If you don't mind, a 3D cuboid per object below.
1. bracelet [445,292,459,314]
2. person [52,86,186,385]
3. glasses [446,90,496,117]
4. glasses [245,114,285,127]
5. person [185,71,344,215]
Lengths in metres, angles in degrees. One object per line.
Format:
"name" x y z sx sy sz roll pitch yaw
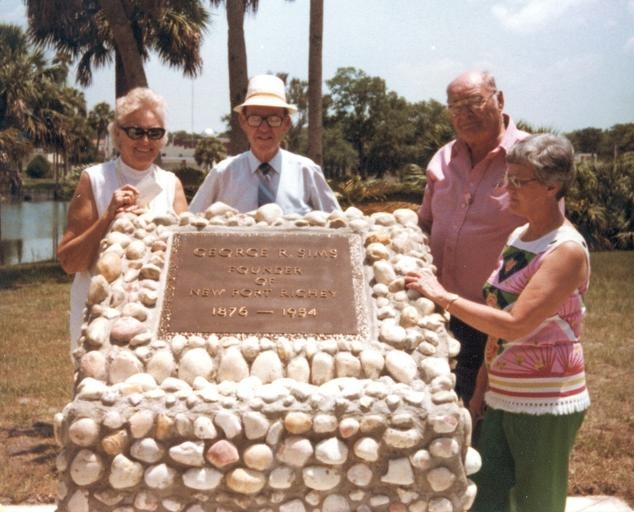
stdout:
"bracelet" 1.106 0.378 8.003 0.033 0.121 0.122 19 27 16
"person" -1.732 -0.319 8.689 1.108 2.379 0.604 0 -11 -16
"glasses" 1.354 -1.320 8.540 0.416 0.173 0.112 -6 -11 11
"glasses" -0.461 -1.214 8.857 0.322 0.118 0.081 -3 -11 -2
"person" -0.483 -0.961 9.163 1.512 1.338 0.787 0 1 -8
